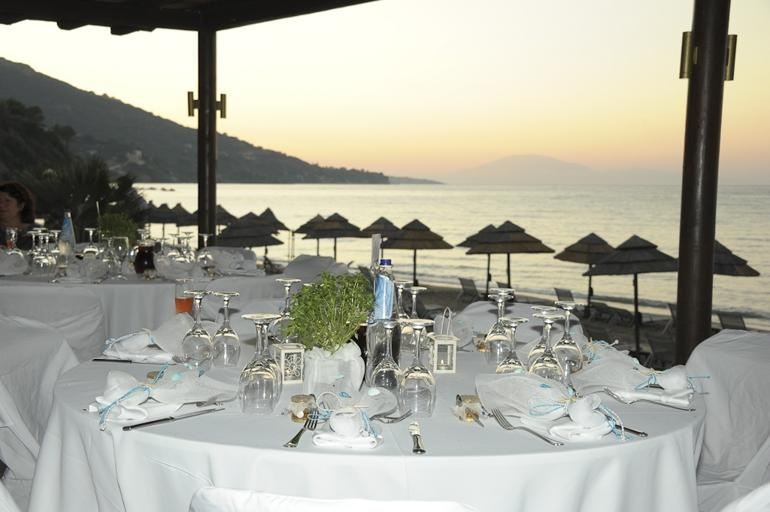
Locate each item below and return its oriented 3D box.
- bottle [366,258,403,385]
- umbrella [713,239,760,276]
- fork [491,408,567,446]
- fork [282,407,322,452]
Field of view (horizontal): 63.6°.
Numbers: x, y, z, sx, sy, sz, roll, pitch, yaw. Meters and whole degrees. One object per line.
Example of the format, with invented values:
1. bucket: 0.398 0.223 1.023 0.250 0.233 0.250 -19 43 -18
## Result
1. bottle: -0.007 0.368 2.912 0.201 0.715 0.202 -2 -2 0
2. umbrella: 3.721 -0.064 6.676 0.613 0.333 0.649 5 2 10
3. fork: 0.571 0.710 2.512 0.315 0.057 0.048 19 20 40
4. fork: -0.321 0.699 2.489 0.056 0.012 0.236 17 16 4
